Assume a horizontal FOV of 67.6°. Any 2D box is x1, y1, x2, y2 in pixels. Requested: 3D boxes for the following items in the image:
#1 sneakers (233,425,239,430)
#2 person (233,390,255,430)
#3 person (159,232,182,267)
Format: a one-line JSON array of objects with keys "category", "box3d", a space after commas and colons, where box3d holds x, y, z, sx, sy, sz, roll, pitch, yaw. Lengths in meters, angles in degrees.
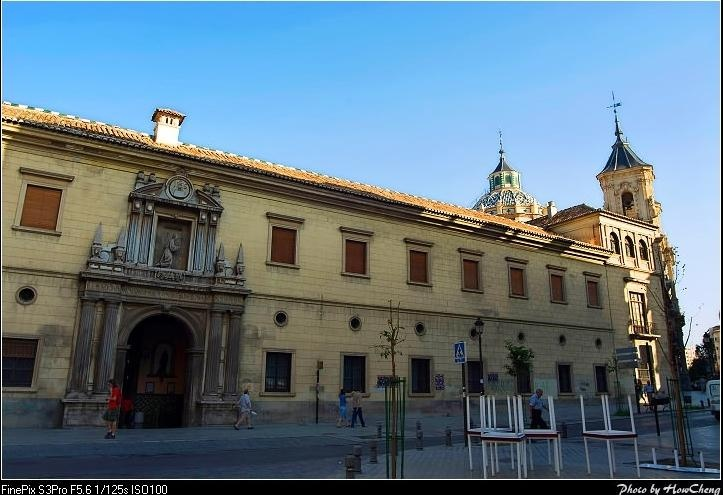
[{"category": "sneakers", "box3d": [-5.552, 8.091, 24.170, 0.228, 0.176, 0.674, 3, -18, -11]}, {"category": "person", "box3d": [-5.303, 7.430, 24.814, 0.823, 1.821, 1.555, 4, -19, -11]}, {"category": "person", "box3d": [-9.090, 0.209, 25.891, 0.861, 1.792, 0.366, 11, -22, -29]}]
